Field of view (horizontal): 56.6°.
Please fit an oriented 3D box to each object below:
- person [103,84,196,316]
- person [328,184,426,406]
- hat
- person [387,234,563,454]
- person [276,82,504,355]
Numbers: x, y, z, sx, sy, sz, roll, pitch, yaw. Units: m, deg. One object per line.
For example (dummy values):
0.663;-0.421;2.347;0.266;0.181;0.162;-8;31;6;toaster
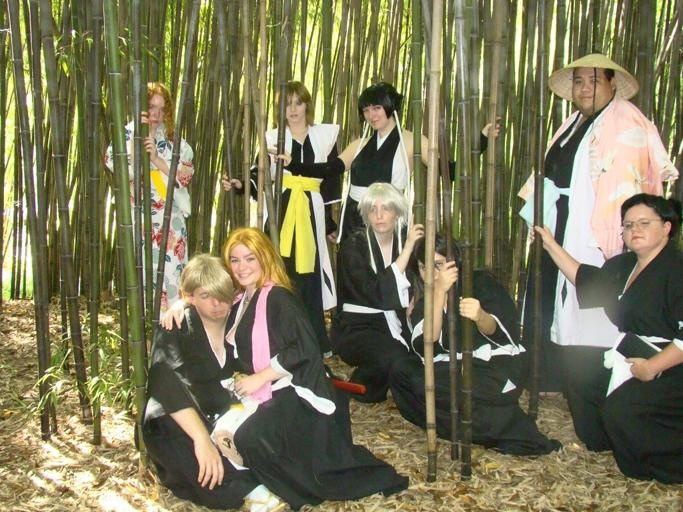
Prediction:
-0.929;-0.242;3.125;0.396;1.118;0.278;-11;24;-28;person
0.210;0.180;2.891;0.487;0.991;0.468;5;16;22;person
1.064;-0.748;2.662;0.270;0.123;0.285;4;6;-15;hat
0.486;0.342;2.632;0.564;0.919;0.487;-16;-2;30;person
0.188;-0.154;3.267;0.818;1.400;0.328;4;28;13;person
